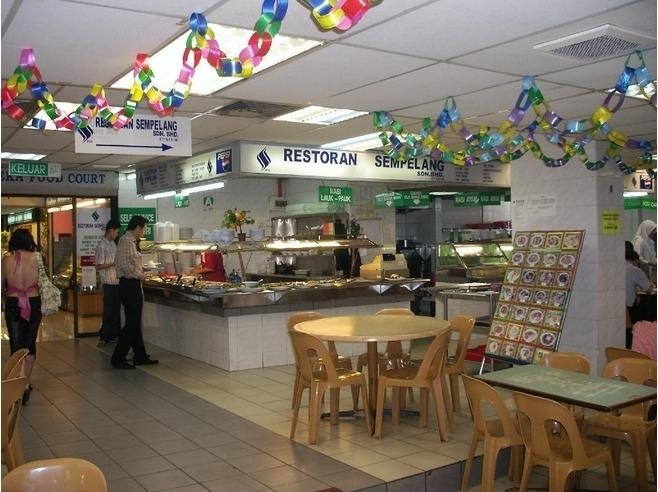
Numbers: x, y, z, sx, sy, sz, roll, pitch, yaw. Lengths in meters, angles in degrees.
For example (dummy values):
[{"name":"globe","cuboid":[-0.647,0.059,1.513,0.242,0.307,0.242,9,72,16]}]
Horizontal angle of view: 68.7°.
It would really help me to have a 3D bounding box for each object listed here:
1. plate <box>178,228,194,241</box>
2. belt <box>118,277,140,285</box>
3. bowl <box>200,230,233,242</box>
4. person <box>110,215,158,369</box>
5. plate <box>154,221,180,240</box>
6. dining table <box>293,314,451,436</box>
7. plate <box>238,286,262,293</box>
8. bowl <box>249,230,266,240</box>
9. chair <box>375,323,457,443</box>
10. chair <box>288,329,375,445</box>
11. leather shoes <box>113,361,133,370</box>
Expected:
[{"name":"plate","cuboid":[-2.869,-0.231,9.608,0.319,0.207,0.300,0,4,7]},{"name":"belt","cuboid":[-2.945,0.506,7.095,0.342,0.091,0.109,-1,1,4]},{"name":"bowl","cuboid":[-1.770,-0.156,7.530,0.424,0.156,0.248,0,1,21]},{"name":"person","cuboid":[-2.940,0.681,7.221,0.501,2.086,0.438,-1,1,20]},{"name":"plate","cuboid":[-2.998,-0.262,8.813,0.373,0.322,0.360,1,-2,-21]},{"name":"dining table","cuboid":[0.409,1.152,5.001,1.233,0.713,1.184,-2,3,-28]},{"name":"plate","cuboid":[-1.116,0.645,7.066,0.356,0.077,0.282,-1,1,-32]},{"name":"bowl","cuboid":[-1.098,-0.174,7.470,0.206,0.127,0.194,-1,3,0]},{"name":"chair","cuboid":[0.840,1.312,5.060,1.065,1.329,0.906,1,-3,7]},{"name":"chair","cuboid":[-0.062,1.285,4.742,0.799,0.749,0.910,-2,1,-39]},{"name":"leather shoes","cuboid":[-3.042,1.776,7.147,0.330,0.119,0.113,0,-2,2]}]
